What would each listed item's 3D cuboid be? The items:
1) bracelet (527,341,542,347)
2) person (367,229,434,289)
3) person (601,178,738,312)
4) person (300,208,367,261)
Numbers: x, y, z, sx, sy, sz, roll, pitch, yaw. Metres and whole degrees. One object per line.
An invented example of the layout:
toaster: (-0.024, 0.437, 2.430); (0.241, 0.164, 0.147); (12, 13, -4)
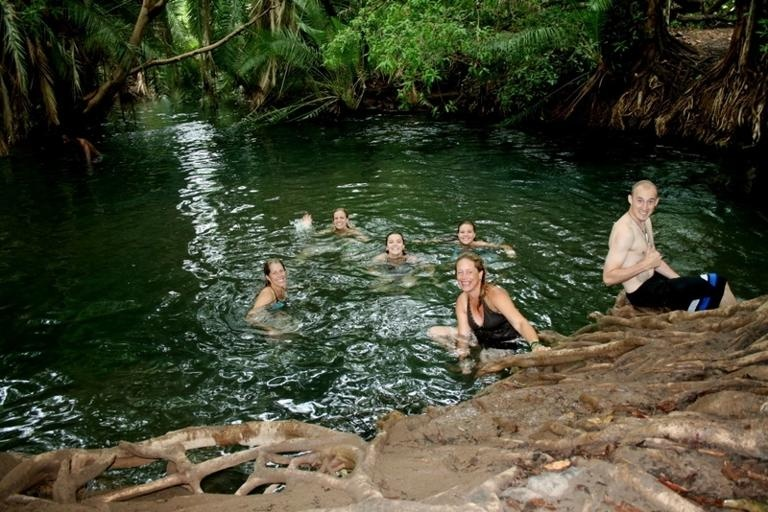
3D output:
bracelet: (2.487, 1.473, 10.733); (0.189, 0.111, 0.158); (-2, 22, 3)
person: (0.311, 0.049, 13.316); (1.319, 0.823, 1.332); (-4, 22, -2)
person: (4.497, -0.073, 10.463); (1.657, 2.052, 0.968); (10, 29, 27)
person: (-1.084, -0.461, 15.083); (1.524, 0.492, 1.342); (-2, 8, 8)
